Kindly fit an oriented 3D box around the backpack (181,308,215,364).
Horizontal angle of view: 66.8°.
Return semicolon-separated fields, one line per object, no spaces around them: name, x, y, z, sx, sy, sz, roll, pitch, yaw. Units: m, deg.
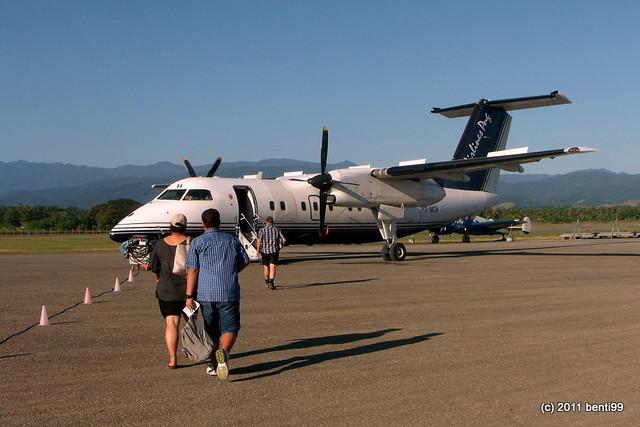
backpack;-1.963;2.001;7.676;0.541;0.589;0.329;11;-16;-36

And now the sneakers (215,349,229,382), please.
sneakers;-1.506;2.279;7.387;0.225;0.508;0.246;-4;-8;21

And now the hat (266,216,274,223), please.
hat;-1.525;0.177;14.862;0.210;0.240;0.247;-1;-31;-3
